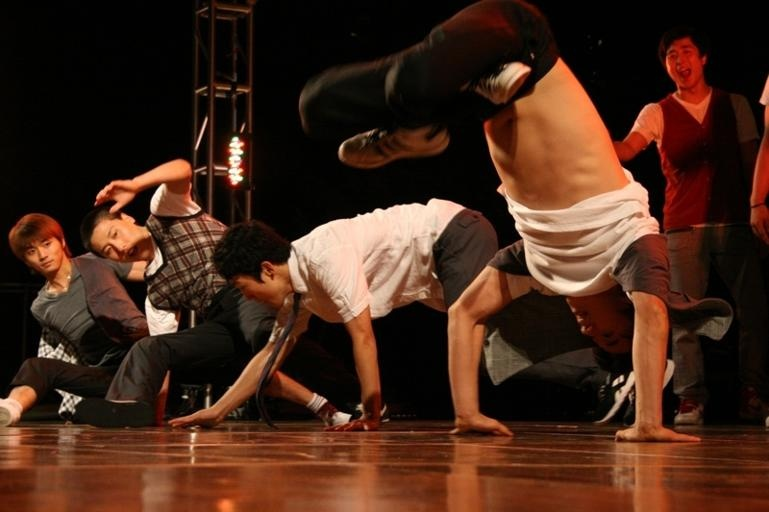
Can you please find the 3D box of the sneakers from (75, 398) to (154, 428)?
[{"bbox_3d":[-1.143,0.663,3.661,0.401,0.116,0.142,4,-8,-7],"label":"sneakers"}]

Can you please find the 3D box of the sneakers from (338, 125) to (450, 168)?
[{"bbox_3d":[0.045,-0.339,2.647,0.344,0.111,0.226,0,1,17],"label":"sneakers"}]

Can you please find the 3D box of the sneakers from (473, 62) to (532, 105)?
[{"bbox_3d":[0.394,-0.543,2.637,0.178,0.108,0.091,-2,-2,5],"label":"sneakers"}]

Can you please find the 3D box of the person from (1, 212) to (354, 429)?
[{"bbox_3d":[-0.746,0.216,4.140,1.531,1.253,0.762,9,-45,-31],"label":"person"}]

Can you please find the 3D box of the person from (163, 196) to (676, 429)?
[{"bbox_3d":[0.007,0.235,3.733,1.856,0.789,0.665,-6,-1,-12],"label":"person"}]
